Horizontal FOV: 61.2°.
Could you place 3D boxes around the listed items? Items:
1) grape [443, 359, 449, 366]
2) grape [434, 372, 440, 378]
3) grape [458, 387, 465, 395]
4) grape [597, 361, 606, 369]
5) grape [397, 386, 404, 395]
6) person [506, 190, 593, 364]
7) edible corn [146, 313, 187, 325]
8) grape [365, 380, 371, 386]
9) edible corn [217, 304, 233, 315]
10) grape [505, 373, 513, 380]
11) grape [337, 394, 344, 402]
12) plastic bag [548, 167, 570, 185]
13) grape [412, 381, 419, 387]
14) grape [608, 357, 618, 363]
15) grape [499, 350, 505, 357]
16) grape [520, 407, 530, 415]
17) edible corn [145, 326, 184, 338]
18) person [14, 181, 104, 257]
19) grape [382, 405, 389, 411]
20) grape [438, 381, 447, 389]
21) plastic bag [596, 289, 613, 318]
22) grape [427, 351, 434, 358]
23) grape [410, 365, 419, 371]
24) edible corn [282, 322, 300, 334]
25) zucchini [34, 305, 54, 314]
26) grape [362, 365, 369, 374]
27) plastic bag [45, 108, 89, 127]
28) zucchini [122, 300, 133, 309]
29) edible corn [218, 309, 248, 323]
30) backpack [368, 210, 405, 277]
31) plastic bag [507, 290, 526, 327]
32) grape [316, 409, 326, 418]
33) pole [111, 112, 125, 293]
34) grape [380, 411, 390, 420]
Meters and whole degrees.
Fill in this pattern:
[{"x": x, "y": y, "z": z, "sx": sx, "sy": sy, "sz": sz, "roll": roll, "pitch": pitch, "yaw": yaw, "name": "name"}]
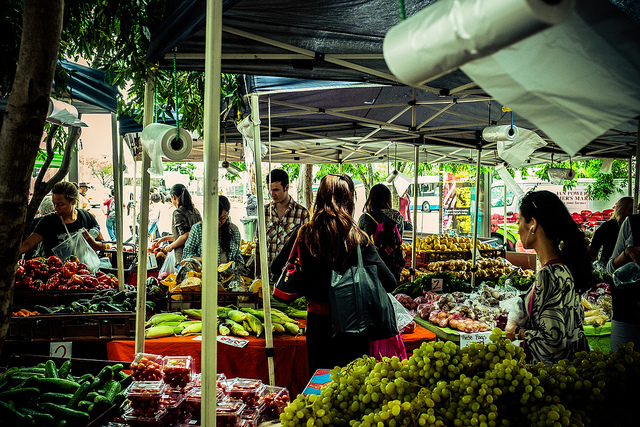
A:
[{"x": 0.737, "y": 0.872, "z": 3.177, "sx": 0.027, "sy": 0.014, "sz": 0.027, "roll": 0, "pitch": 10, "yaw": 13, "name": "grape"}, {"x": 0.678, "y": 0.939, "z": 3.149, "sx": 0.028, "sy": 0.027, "sz": 0.033, "roll": 11, "pitch": 23, "yaw": 15, "name": "grape"}, {"x": 0.806, "y": 1.015, "z": 3.102, "sx": 0.034, "sy": 0.034, "sz": 0.010, "roll": -18, "pitch": -22, "yaw": -38, "name": "grape"}, {"x": 1.666, "y": 0.901, "z": 3.207, "sx": 0.052, "sy": 0.036, "sz": 0.019, "roll": 1, "pitch": -4, "yaw": -17, "name": "grape"}, {"x": 0.460, "y": 1.016, "z": 3.105, "sx": 0.034, "sy": 0.039, "sz": 0.033, "roll": 4, "pitch": 38, "yaw": 1, "name": "grape"}, {"x": 1.756, "y": 0.462, "z": 4.049, "sx": 0.495, "sy": 1.277, "sz": 0.324, "roll": -2, "pitch": -5, "yaw": 24, "name": "person"}, {"x": -1.550, "y": 1.051, "z": 5.435, "sx": 0.343, "sy": 0.103, "sz": 0.113, "roll": -3, "pitch": 8, "yaw": -20, "name": "edible corn"}, {"x": 0.280, "y": 0.997, "z": 3.187, "sx": 0.027, "sy": 0.026, "sz": 0.053, "roll": 0, "pitch": -4, "yaw": -7, "name": "grape"}, {"x": -0.972, "y": 0.972, "z": 5.446, "sx": 0.146, "sy": 0.063, "sz": 0.195, "roll": 0, "pitch": 0, "yaw": -12, "name": "edible corn"}, {"x": 1.077, "y": 0.931, "z": 3.100, "sx": 0.040, "sy": 0.036, "sz": 0.017, "roll": -1, "pitch": -4, "yaw": 5, "name": "grape"}, {"x": 0.116, "y": 1.079, "z": 3.169, "sx": 0.028, "sy": 0.033, "sz": 0.027, "roll": -13, "pitch": 5, "yaw": -38, "name": "grape"}, {"x": 5.451, "y": -0.855, "z": 12.434, "sx": 0.446, "sy": 0.337, "sz": 0.414, "roll": 6, "pitch": 2, "yaw": 16, "name": "plastic bag"}, {"x": 0.554, "y": 0.994, "z": 3.151, "sx": 0.024, "sy": 0.028, "sz": 0.054, "roll": -2, "pitch": -4, "yaw": 29, "name": "grape"}, {"x": 1.744, "y": 0.875, "z": 3.230, "sx": 0.060, "sy": 0.026, "sz": 0.027, "roll": 0, "pitch": -4, "yaw": -6, "name": "grape"}, {"x": 1.061, "y": 0.819, "z": 3.168, "sx": 0.031, "sy": 0.037, "sz": 0.031, "roll": -34, "pitch": -12, "yaw": 8, "name": "grape"}, {"x": 1.156, "y": 1.115, "z": 3.064, "sx": 0.041, "sy": 0.040, "sz": 0.022, "roll": -13, "pitch": -10, "yaw": -1, "name": "grape"}, {"x": -1.471, "y": 1.114, "z": 5.124, "sx": 0.334, "sy": 0.089, "sz": 0.097, "roll": 1, "pitch": -10, "yaw": -31, "name": "edible corn"}, {"x": -3.187, "y": 0.059, "z": 6.666, "sx": 0.612, "sy": 0.825, "sz": 0.866, "roll": -1, "pitch": -4, "yaw": 5, "name": "person"}, {"x": 0.368, "y": 1.094, "z": 3.047, "sx": 0.037, "sy": 0.028, "sz": 0.018, "roll": -1, "pitch": -4, "yaw": 15, "name": "grape"}, {"x": 0.699, "y": 0.981, "z": 3.103, "sx": 0.037, "sy": 0.037, "sz": 0.019, "roll": 28, "pitch": -34, "yaw": 23, "name": "grape"}, {"x": 3.422, "y": 1.078, "z": 6.542, "sx": 0.224, "sy": 0.296, "sz": 0.112, "roll": 4, "pitch": -10, "yaw": -14, "name": "plastic bag"}, {"x": 0.650, "y": 0.832, "z": 3.191, "sx": 0.038, "sy": 0.035, "sz": 0.018, "roll": 0, "pitch": -4, "yaw": -7, "name": "grape"}, {"x": 0.557, "y": 0.911, "z": 3.196, "sx": 0.047, "sy": 0.030, "sz": 0.017, "roll": -1, "pitch": -4, "yaw": 11, "name": "grape"}, {"x": -0.287, "y": 1.119, "z": 5.362, "sx": 0.070, "sy": 0.064, "sz": 0.197, "roll": -13, "pitch": 27, "yaw": -38, "name": "edible corn"}, {"x": -2.435, "y": 0.850, "z": 4.788, "sx": 0.152, "sy": 0.053, "sz": 0.283, "roll": 2, "pitch": -4, "yaw": -28, "name": "zucchini"}, {"x": 0.271, "y": 0.945, "z": 3.278, "sx": 0.039, "sy": 0.046, "sz": 0.038, "roll": 3, "pitch": 5, "yaw": -3, "name": "grape"}, {"x": -2.407, "y": -0.872, "z": 5.074, "sx": 0.213, "sy": 0.077, "sz": 0.215, "roll": 3, "pitch": 0, "yaw": -43, "name": "plastic bag"}, {"x": -1.807, "y": 0.860, "z": 5.088, "sx": 0.030, "sy": 0.046, "sz": 0.143, "roll": 12, "pitch": 1, "yaw": 44, "name": "zucchini"}, {"x": -0.880, "y": 1.013, "z": 5.458, "sx": 0.310, "sy": 0.101, "sz": 0.105, "roll": -1, "pitch": -38, "yaw": 40, "name": "edible corn"}, {"x": 0.731, "y": 0.459, "z": 6.641, "sx": 0.564, "sy": 0.782, "sz": 0.434, "roll": 13, "pitch": -20, "yaw": -29, "name": "backpack"}, {"x": 1.519, "y": 0.759, "z": 4.196, "sx": 0.106, "sy": 0.224, "sz": 0.188, "roll": 1, "pitch": -4, "yaw": -21, "name": "plastic bag"}, {"x": 0.002, "y": 1.142, "z": 3.089, "sx": 0.042, "sy": 0.044, "sz": 0.021, "roll": 2, "pitch": -5, "yaw": -26, "name": "grape"}, {"x": -2.203, "y": -0.182, "z": 5.905, "sx": 0.180, "sy": 1.975, "sz": 0.697, "roll": 2, "pitch": -5, "yaw": -21, "name": "pole"}, {"x": 0.361, "y": 1.123, "z": 3.012, "sx": 0.040, "sy": 0.040, "sz": 0.022, "roll": -17, "pitch": 0, "yaw": 5, "name": "grape"}]
